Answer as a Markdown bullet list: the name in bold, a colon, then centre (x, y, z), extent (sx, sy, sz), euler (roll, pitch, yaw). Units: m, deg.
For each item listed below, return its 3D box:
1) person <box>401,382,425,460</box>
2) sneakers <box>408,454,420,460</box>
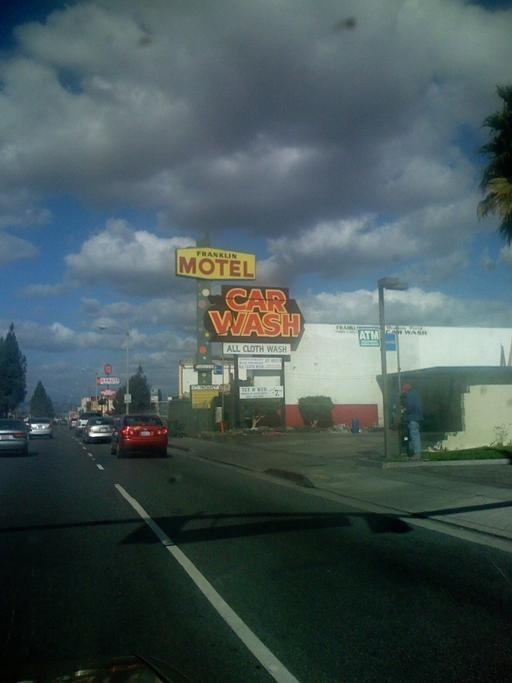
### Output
- **person**: centre (3.715, 1.899, 16.179), extent (0.446, 1.643, 1.041), euler (-3, 0, 12)
- **sneakers**: centre (3.639, 2.668, 15.662), extent (0.243, 0.107, 0.515), euler (-3, -1, 12)
